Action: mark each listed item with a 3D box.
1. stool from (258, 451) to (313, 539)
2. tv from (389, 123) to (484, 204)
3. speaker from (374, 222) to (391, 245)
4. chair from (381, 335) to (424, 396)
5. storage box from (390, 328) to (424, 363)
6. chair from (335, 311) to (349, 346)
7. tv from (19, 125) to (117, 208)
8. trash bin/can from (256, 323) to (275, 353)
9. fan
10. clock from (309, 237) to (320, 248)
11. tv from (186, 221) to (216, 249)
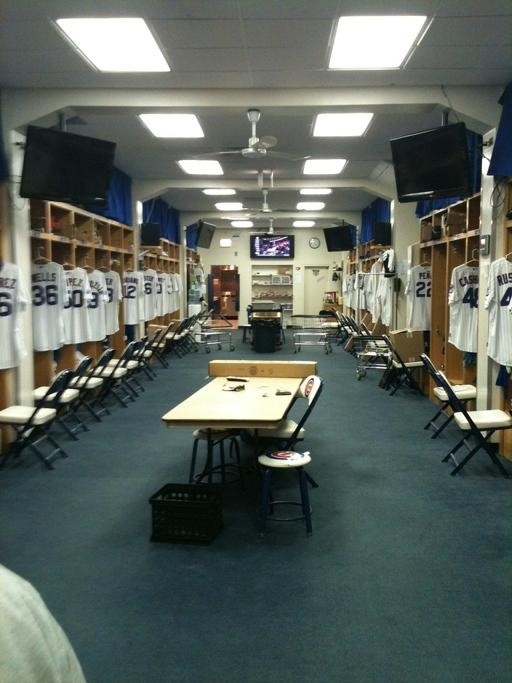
[{"bbox_3d":[0.194,1.018,3.544,0.462,0.609,0.469,-1,-1,-3],"label":"stool"},{"bbox_3d":[1.725,-1.721,5.064,0.352,0.620,0.793,-5,8,-32],"label":"tv"},{"bbox_3d":[2.425,-2.055,9.919,0.361,0.406,0.230,-3,7,-16],"label":"speaker"},{"bbox_3d":[2.237,0.323,7.929,0.647,0.913,1.158,1,7,16],"label":"chair"},{"bbox_3d":[2.331,0.050,8.136,0.522,0.504,0.511,-1,6,4],"label":"storage box"},{"bbox_3d":[2.356,-0.319,14.299,0.347,0.542,1.012,3,10,3],"label":"chair"},{"bbox_3d":[-1.802,-1.632,4.853,0.274,0.693,1.065,3,8,31],"label":"tv"},{"bbox_3d":[0.179,-0.071,12.241,0.491,0.679,0.394,-1,7,2],"label":"trash bin/can"},{"bbox_3d":[-0.071,-2.686,7.255,1.185,1.120,1.351,-1,-10,5],"label":"fan"},{"bbox_3d":[2.155,-3.666,19.215,0.399,0.411,0.518,0,7,7],"label":"clock"},{"bbox_3d":[-1.618,-3.045,14.591,0.637,1.112,1.175,5,17,-4],"label":"tv"}]
